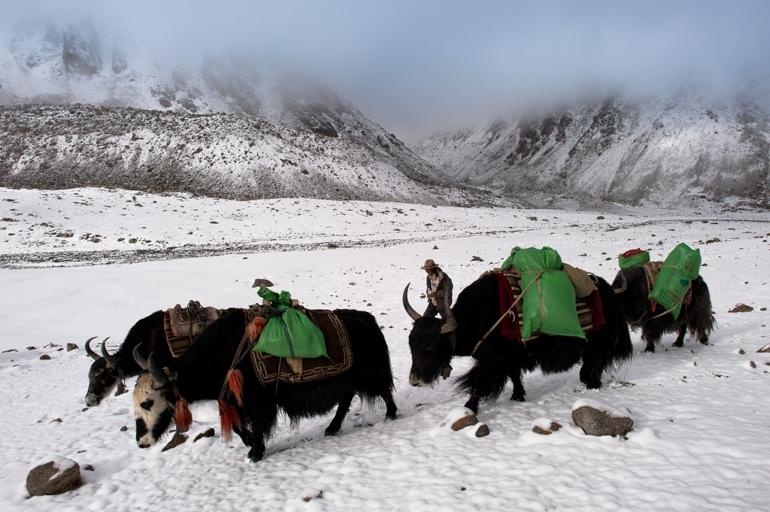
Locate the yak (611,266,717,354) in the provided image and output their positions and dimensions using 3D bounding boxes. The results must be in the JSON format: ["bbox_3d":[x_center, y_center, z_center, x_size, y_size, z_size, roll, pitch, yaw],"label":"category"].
[{"bbox_3d":[7.065,1.337,17.450,3.303,2.216,0.992,1,9,-11],"label":"yak"}]

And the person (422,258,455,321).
[{"bbox_3d":[1.290,0.834,16.571,0.677,1.483,0.720,0,-4,3],"label":"person"}]
